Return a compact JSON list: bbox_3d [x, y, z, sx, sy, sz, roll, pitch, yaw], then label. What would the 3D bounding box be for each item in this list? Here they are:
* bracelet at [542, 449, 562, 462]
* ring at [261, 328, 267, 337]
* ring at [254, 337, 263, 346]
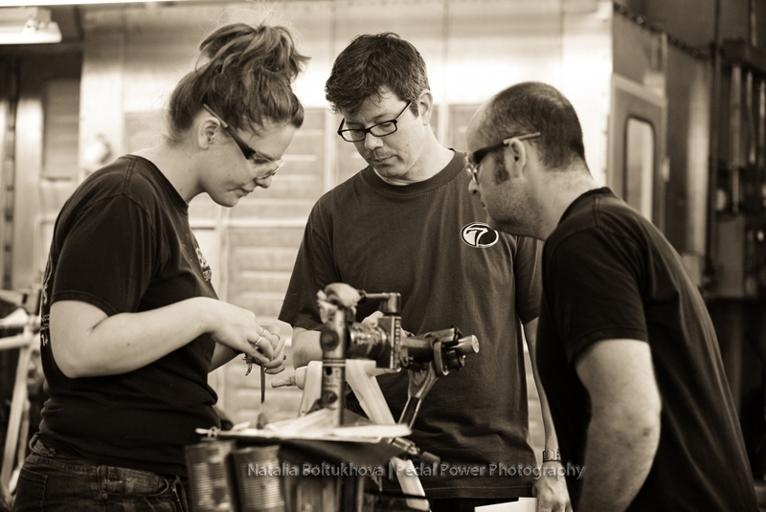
[{"bbox_3d":[0.852,1.007,6.014,0.086,0.053,0.096,1,-3,-39],"label":"bracelet"},{"bbox_3d":[-0.555,0.364,5.611,0.024,0.023,0.023,-4,6,0],"label":"ring"},{"bbox_3d":[-0.577,0.395,5.571,0.009,0.034,0.034,24,-21,-6],"label":"ring"}]
